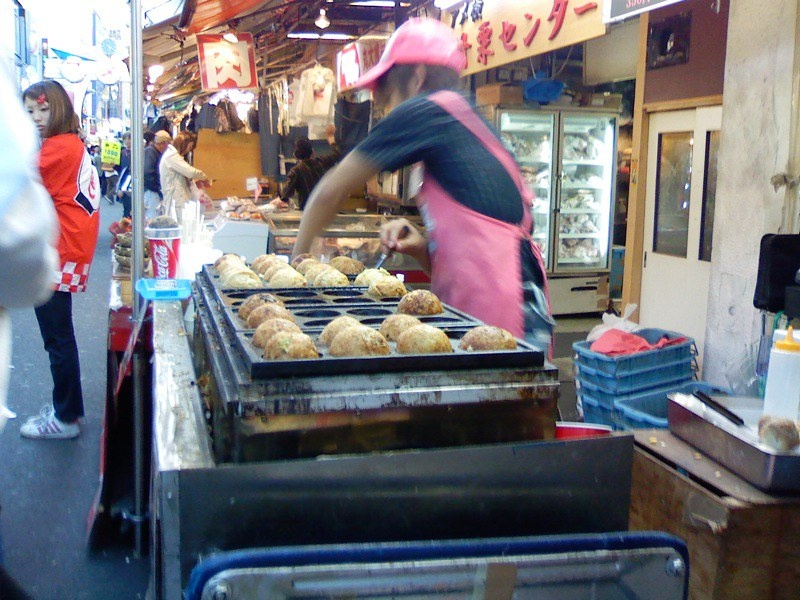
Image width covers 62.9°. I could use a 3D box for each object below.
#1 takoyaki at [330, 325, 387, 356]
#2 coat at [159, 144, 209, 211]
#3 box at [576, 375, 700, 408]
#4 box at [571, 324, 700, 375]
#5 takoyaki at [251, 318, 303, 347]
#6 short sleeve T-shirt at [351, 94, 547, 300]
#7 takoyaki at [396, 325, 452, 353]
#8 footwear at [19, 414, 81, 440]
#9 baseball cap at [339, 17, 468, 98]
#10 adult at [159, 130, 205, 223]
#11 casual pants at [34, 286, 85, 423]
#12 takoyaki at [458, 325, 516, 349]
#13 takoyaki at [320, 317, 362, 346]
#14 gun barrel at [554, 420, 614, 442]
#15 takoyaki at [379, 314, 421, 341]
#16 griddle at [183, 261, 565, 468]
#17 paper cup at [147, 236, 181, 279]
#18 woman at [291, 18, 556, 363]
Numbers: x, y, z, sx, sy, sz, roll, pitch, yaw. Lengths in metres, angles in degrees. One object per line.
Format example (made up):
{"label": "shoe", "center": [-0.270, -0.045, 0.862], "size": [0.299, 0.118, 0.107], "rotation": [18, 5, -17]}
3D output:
{"label": "takoyaki", "center": [-0.122, 0.097, 1.881], "size": [0.099, 0.048, 0.100], "rotation": [3, 10, 39]}
{"label": "coat", "center": [-2.870, -1.467, 8.604], "size": [0.540, 1.332, 0.479], "rotation": [1, 12, 0]}
{"label": "box", "center": [1.593, 0.604, 4.511], "size": [0.443, 0.146, 0.326], "rotation": [-9, 14, -19]}
{"label": "box", "center": [1.684, 0.380, 4.513], "size": [0.640, 0.157, 0.439], "rotation": [-13, 17, -16]}
{"label": "takoyaki", "center": [-0.390, 0.080, 1.960], "size": [0.093, 0.037, 0.100], "rotation": [5, 15, 16]}
{"label": "short sleeve T-shirt", "center": [0.167, -0.443, 2.678], "size": [0.794, 0.845, 0.546], "rotation": [6, 4, -26]}
{"label": "takoyaki", "center": [0.071, 0.116, 1.912], "size": [0.095, 0.037, 0.096], "rotation": [7, 16, 25]}
{"label": "footwear", "center": [-2.671, 0.967, 4.986], "size": [0.330, 0.154, 0.219], "rotation": [8, 1, -2]}
{"label": "baseball cap", "center": [0.050, -1.003, 2.675], "size": [0.366, 0.217, 0.253], "rotation": [0, 17, 0]}
{"label": "adult", "center": [-2.886, -1.440, 8.632], "size": [0.607, 1.413, 0.623], "rotation": [13, 16, 41]}
{"label": "casual pants", "center": [-2.471, 0.345, 4.747], "size": [0.276, 1.044, 0.297], "rotation": [-1, -18, -37]}
{"label": "takoyaki", "center": [0.254, 0.114, 1.942], "size": [0.093, 0.035, 0.091], "rotation": [1, 13, 22]}
{"label": "takoyaki", "center": [-0.199, 0.083, 2.076], "size": [0.092, 0.070, 0.099], "rotation": [-7, 3, -3]}
{"label": "gun barrel", "center": [0.561, 0.401, 2.026], "size": [0.122, 0.033, 0.127], "rotation": [1, 0, 0]}
{"label": "takoyaki", "center": [-0.006, 0.081, 2.121], "size": [0.087, 0.056, 0.091], "rotation": [-1, 0, 29]}
{"label": "griddle", "center": [-0.288, 0.201, 2.631], "size": [1.002, 0.402, 1.839], "rotation": [0, 10, -21]}
{"label": "paper cup", "center": [-1.202, -0.235, 3.352], "size": [0.165, 0.265, 0.167], "rotation": [5, 22, -2]}
{"label": "woman", "center": [0.060, -0.179, 2.763], "size": [1.018, 1.933, 0.675], "rotation": [0, 1, -4]}
